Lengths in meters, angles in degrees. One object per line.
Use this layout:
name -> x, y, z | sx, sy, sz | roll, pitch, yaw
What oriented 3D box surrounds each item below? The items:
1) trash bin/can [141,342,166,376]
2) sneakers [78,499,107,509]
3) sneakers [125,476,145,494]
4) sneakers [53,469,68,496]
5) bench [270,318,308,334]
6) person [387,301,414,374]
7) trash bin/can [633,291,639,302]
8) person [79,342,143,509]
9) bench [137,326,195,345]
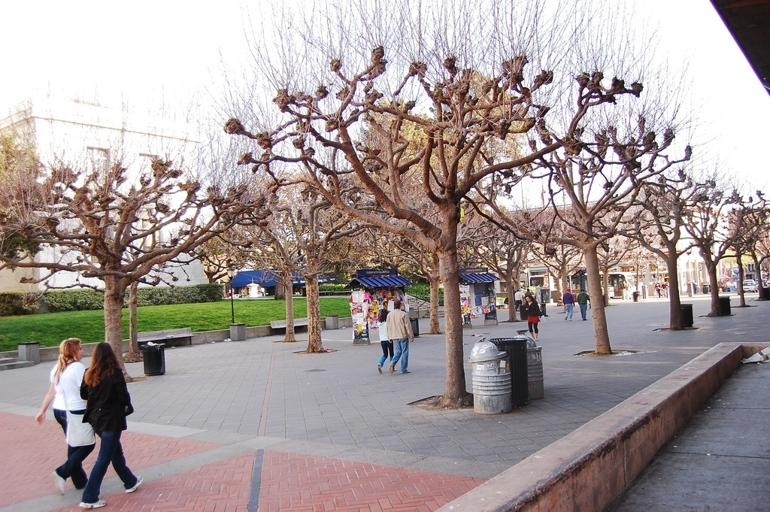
trash bin/can -> -8.082, 3.582, 18.436 | 0.680, 1.110, 0.848 | -1, -2, -28
sneakers -> -4.056, 3.401, 7.318 | 0.334, 0.147, 0.134 | 1, -3, -10
sneakers -> -3.677, 3.354, 7.731 | 0.112, 0.126, 0.270 | 2, 7, 14
sneakers -> -4.697, 3.266, 7.587 | 0.130, 0.359, 0.202 | 0, -2, -39
bench -> -6.343, 4.668, 35.091 | 1.543, 0.845, 3.061 | -3, -3, 16
person -> 0.441, 2.478, 16.364 | 0.725, 2.236, 1.560 | -2, -2, 1
trash bin/can -> 27.101, 4.303, 56.979 | 0.359, 0.788, 1.130 | -2, -3, 13
person -> -3.947, 2.355, 7.507 | 0.693, 2.240, 0.645 | -3, -2, 25
bench -> -11.880, 4.519, 28.710 | 2.619, 0.795, 3.414 | -1, -3, -21
